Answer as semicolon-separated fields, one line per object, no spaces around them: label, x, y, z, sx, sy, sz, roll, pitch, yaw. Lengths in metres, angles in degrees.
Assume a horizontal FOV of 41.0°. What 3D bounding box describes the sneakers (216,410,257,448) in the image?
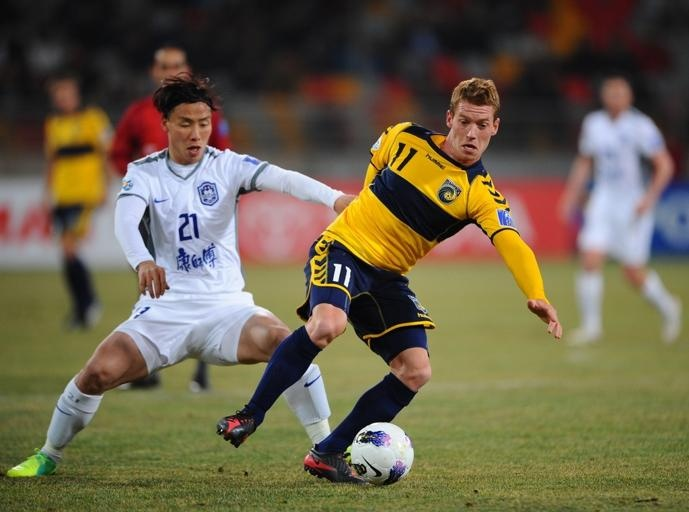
sneakers;-0.676;1.102;6.025;0.178;0.204;0.403;12;-5;24

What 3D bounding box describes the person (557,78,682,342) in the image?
person;3.079;-0.476;10.168;0.709;2.982;1.407;-4;8;-26

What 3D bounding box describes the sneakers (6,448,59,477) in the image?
sneakers;-2.105;1.429;6.322;0.376;0.176;0.136;2;10;-38

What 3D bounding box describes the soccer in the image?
soccer;0.282;1.301;6.179;0.396;0.413;0.371;-2;10;8
